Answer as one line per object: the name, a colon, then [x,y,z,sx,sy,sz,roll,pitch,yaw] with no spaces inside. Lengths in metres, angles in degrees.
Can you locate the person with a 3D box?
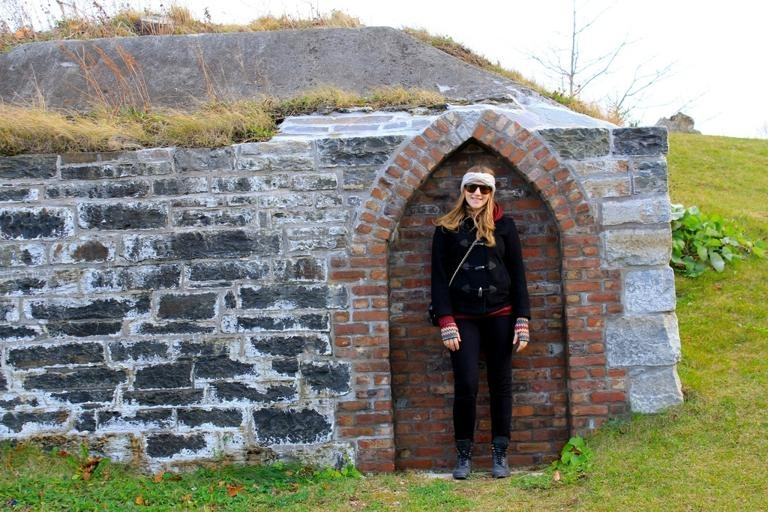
person: [0.905,0.623,8.892,0.909,2.931,0.468,-6,-8,10]

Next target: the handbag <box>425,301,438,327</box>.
handbag: [0.453,0.562,8.968,0.207,0.187,0.082,-1,-7,6]

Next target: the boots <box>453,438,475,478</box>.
boots: [0.757,1.920,8.927,0.218,0.363,0.156,-1,-8,-19]
